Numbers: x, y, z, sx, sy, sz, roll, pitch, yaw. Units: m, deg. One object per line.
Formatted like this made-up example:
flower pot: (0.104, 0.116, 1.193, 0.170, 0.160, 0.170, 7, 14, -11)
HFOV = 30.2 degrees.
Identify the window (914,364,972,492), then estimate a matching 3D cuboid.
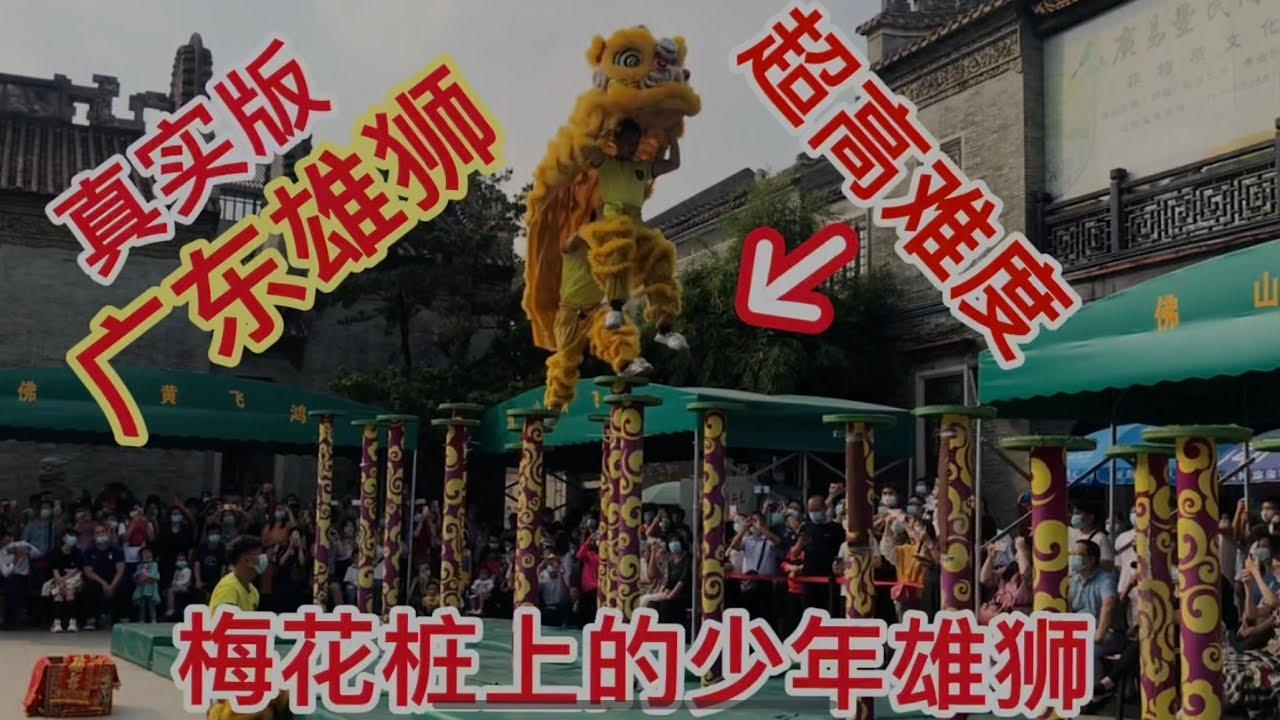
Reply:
window: (5.448, 1.324, 42.664, 0.216, 1.258, 2.575, 4, -11, -23)

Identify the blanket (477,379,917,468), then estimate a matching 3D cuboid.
blanket: (1.222, 1.191, 44.791, 3.744, 0.768, 3.202, 6, -17, -29)

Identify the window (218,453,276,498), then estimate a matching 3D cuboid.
window: (-8.552, 2.491, 52.044, 1.360, 1.082, 1.277, -1, -4, -9)

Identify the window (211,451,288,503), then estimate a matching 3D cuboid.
window: (-8.606, 2.696, 52.134, 1.424, 0.759, 1.374, -1, 1, -37)
